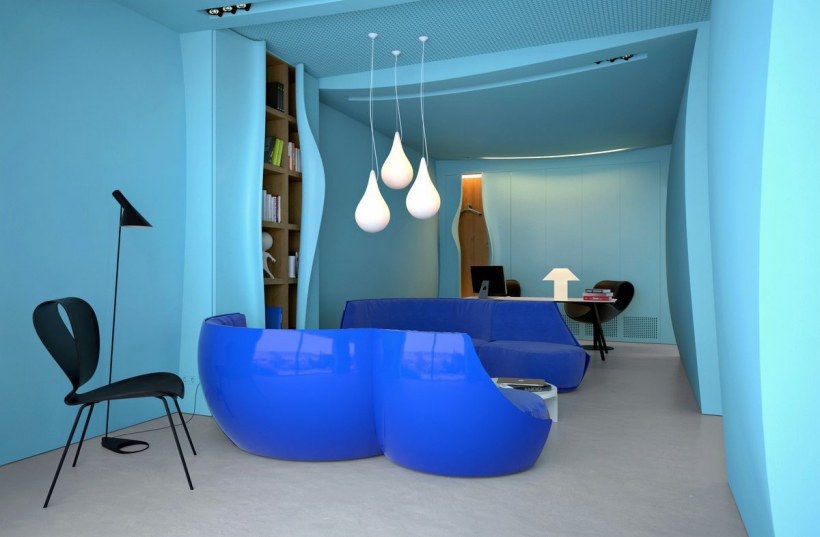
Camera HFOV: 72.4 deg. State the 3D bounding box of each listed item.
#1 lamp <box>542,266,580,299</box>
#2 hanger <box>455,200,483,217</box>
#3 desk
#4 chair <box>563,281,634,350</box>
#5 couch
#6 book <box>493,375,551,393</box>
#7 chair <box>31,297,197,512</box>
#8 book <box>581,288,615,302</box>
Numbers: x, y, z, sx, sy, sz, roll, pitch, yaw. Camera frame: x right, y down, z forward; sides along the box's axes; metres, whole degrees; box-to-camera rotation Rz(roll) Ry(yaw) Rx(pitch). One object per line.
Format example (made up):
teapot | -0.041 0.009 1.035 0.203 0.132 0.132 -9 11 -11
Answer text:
lamp | 2.386 0.200 8.991 0.606 0.560 0.637 1 1 23
hanger | 1.210 -1.189 11.120 0.386 0.301 0.099 2 7 19
desk | 1.975 0.879 9.091 2.604 1.021 0.931 3 9 9
chair | 3.255 0.750 9.352 1.123 1.416 1.200 1 -5 -5
couch | 0.110 0.913 5.779 3.253 1.255 3.161 3 10 19
book | 1.107 1.137 5.486 0.379 0.096 0.393 0 0 26
chair | -2.269 1.000 5.324 1.487 2.189 1.383 0 -1 -6
book | 2.890 0.421 8.564 0.481 0.170 0.315 1 9 8
